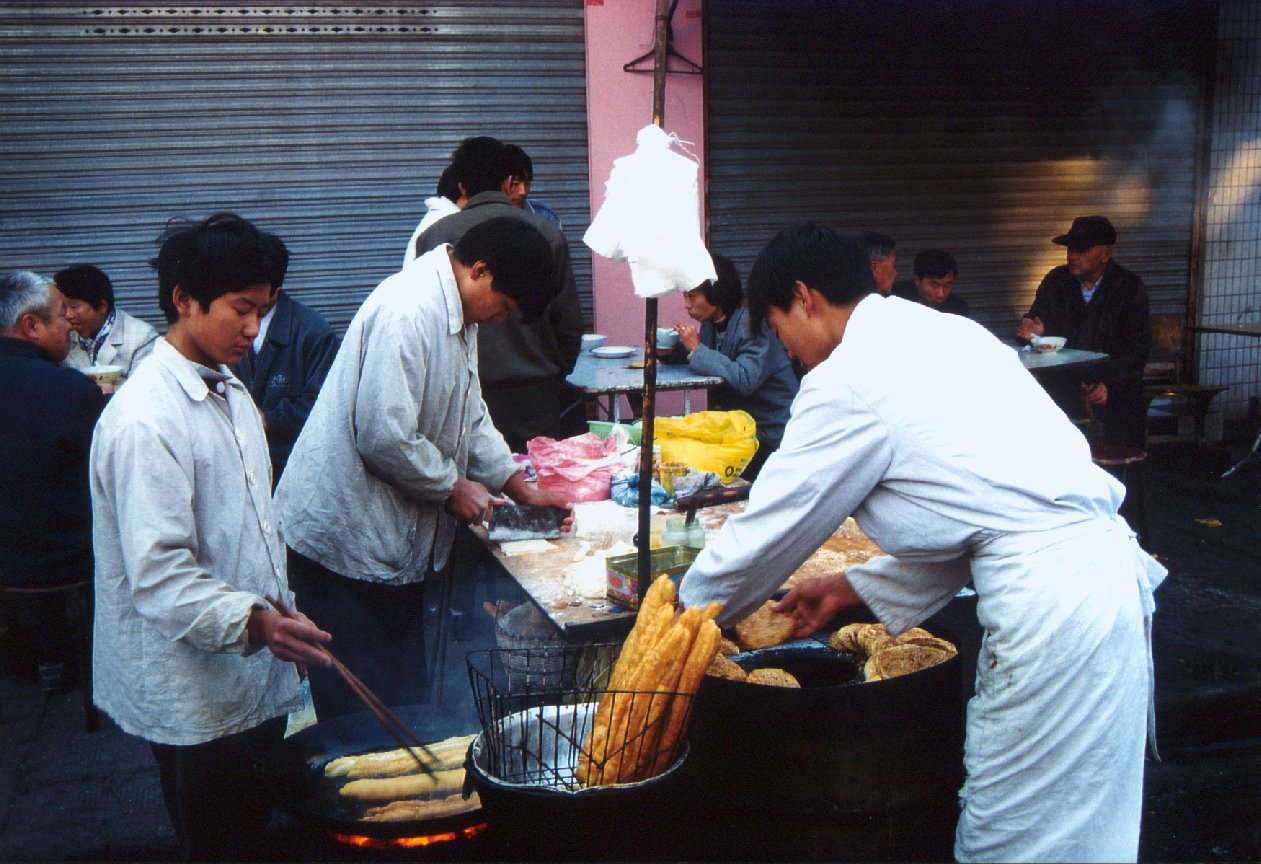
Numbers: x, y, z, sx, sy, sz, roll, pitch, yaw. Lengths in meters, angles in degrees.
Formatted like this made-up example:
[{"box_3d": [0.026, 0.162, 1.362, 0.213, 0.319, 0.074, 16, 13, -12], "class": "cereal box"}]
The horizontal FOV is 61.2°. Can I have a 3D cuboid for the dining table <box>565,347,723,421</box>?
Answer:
[{"box_3d": [0.011, -0.226, 8.005, 1.449, 0.616, 0.890, -2, 16, -11], "class": "dining table"}]

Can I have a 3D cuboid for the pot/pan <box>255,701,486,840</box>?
[{"box_3d": [-1.004, 1.391, 4.283, 0.799, 0.263, 0.737, -3, 11, -14], "class": "pot/pan"}]

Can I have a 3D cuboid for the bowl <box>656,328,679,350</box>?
[{"box_3d": [0.282, -0.693, 8.060, 0.244, 0.128, 0.342, 0, -1, 9], "class": "bowl"}]

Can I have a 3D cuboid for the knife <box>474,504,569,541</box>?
[{"box_3d": [-0.516, 0.451, 5.327, 0.343, 0.111, 0.182, -1, -11, -17], "class": "knife"}]

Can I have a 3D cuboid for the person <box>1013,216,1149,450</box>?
[{"box_3d": [3.908, -0.627, 9.131, 0.973, 2.299, 0.876, 4, 10, 24], "class": "person"}]

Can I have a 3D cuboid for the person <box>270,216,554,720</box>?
[{"box_3d": [-0.817, 0.238, 5.537, 1.194, 2.755, 1.356, 1, 11, 10], "class": "person"}]

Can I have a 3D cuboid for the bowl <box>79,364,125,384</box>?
[{"box_3d": [-3.269, -0.357, 6.679, 0.213, 0.101, 0.218, 1, 1, 0], "class": "bowl"}]

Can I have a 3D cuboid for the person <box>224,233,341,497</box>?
[{"box_3d": [-2.312, -0.357, 6.725, 0.770, 1.916, 0.736, -1, 18, -9], "class": "person"}]
